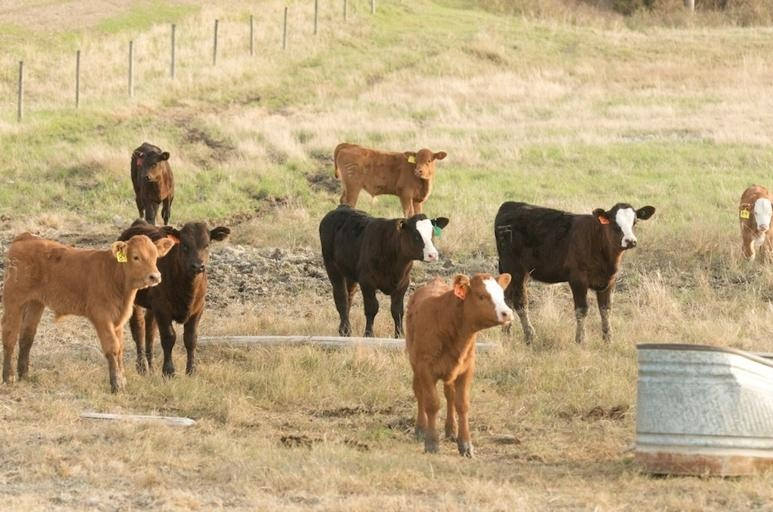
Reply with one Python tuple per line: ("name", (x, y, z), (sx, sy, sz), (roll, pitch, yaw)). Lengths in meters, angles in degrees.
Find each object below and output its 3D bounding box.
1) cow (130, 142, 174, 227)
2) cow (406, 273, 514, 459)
("cow", (-7.079, -2.236, 47.648), (1.250, 2.479, 1.477), (0, 1, -11))
("cow", (1.701, 2.709, 39.035), (2.514, 4.543, 1.195), (0, 1, 14))
